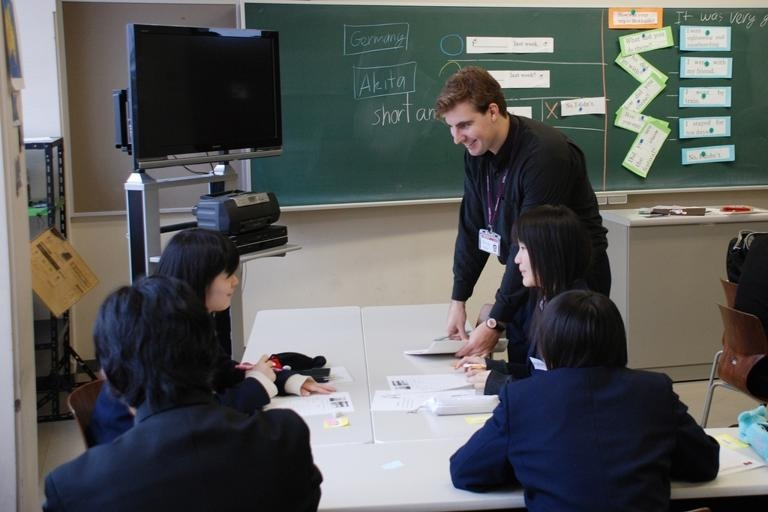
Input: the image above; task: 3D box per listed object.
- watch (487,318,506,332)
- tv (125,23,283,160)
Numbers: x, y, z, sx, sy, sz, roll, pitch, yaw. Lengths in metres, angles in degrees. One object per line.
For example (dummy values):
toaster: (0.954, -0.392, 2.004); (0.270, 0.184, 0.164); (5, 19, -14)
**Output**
watch: (0.515, 0.331, 2.753); (0.088, 0.052, 0.085); (23, -9, 7)
tv: (-0.967, -0.863, 3.150); (0.083, 0.579, 0.853); (8, 12, 40)
